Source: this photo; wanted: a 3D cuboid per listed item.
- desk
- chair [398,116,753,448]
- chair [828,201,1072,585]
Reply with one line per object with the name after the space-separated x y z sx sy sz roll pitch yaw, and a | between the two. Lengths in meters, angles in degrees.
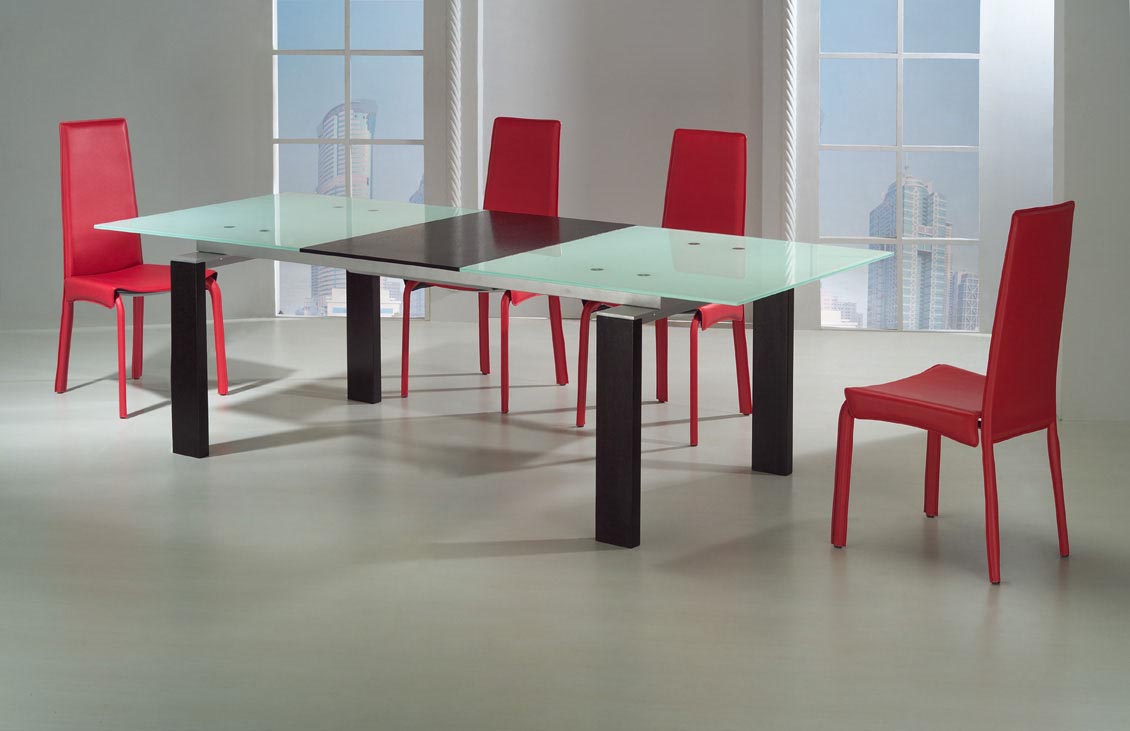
-0.240 -0.098 3.970 2.813 1.320 1.079 3 8 23 | desk
0.080 -0.423 4.691 1.828 1.517 0.779 6 11 30 | chair
1.415 0.051 3.377 0.664 1.183 0.660 -10 11 -39 | chair
